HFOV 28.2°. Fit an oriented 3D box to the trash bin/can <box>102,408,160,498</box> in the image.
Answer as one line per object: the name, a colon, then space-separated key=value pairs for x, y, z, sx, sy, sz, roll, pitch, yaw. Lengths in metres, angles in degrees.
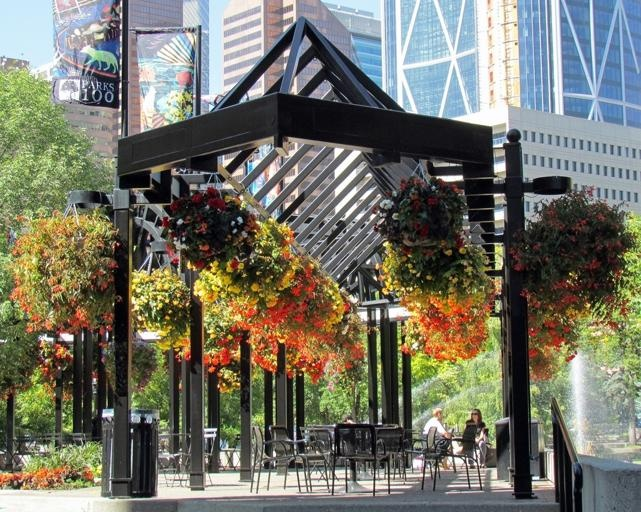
trash bin/can: x=-3.133 y=3.199 z=21.286 sx=0.851 sy=1.465 sz=0.861 roll=4 pitch=9 yaw=15

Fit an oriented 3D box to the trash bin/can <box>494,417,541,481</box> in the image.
trash bin/can: x=3.566 y=3.445 z=23.153 sx=0.858 sy=1.171 sz=1.737 roll=-4 pitch=-11 yaw=9
